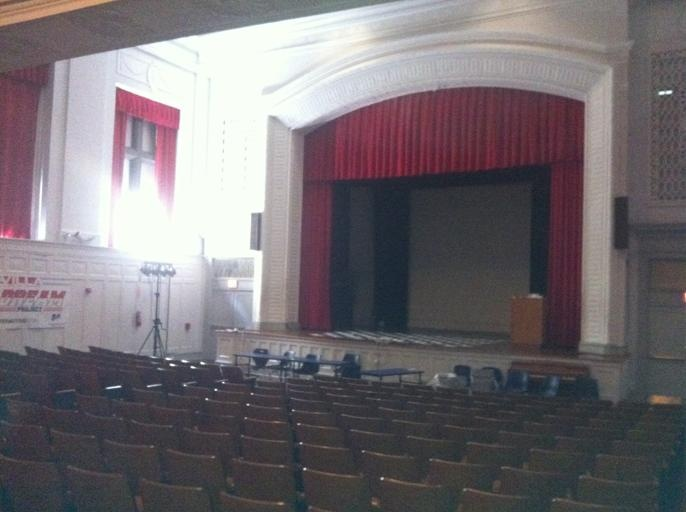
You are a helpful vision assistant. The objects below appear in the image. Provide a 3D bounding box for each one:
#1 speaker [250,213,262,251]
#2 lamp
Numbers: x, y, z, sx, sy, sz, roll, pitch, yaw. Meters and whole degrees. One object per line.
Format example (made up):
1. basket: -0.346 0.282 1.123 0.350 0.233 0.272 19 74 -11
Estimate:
1. speaker: -1.965 -0.560 14.705 0.323 0.882 0.178 -1 -4 13
2. lamp: -4.051 1.160 14.125 0.751 2.083 1.463 1 -5 -15
